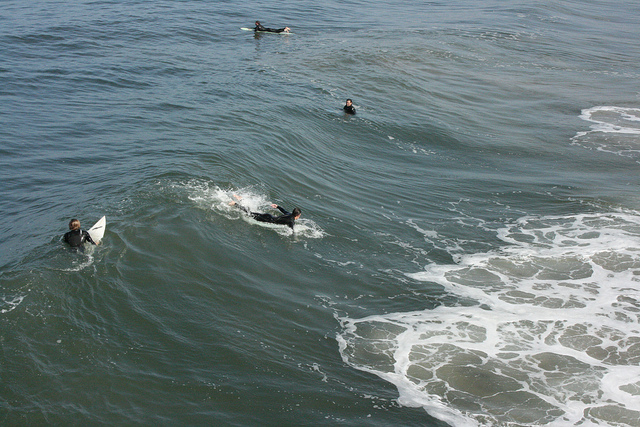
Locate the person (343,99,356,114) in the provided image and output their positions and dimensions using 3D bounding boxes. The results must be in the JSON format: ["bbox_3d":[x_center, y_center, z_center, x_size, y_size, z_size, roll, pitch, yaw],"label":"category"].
[{"bbox_3d":[1.864,-6.839,54.399,0.702,1.034,0.744,-15,38,-21],"label":"person"}]
